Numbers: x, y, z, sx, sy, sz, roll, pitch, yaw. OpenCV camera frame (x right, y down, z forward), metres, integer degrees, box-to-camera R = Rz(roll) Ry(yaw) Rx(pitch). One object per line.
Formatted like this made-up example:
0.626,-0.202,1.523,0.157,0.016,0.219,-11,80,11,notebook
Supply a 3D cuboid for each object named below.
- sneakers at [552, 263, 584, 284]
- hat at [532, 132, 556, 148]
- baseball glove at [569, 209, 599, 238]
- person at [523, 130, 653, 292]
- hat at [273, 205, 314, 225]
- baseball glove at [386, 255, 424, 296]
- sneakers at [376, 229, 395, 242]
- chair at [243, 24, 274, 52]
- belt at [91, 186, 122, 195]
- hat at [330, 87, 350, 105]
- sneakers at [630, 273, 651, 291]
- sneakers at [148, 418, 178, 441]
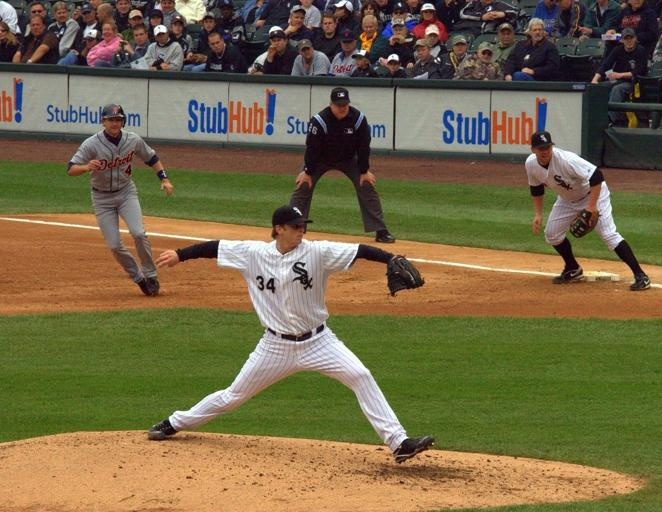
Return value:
3.211,0.236,18.721,0.496,0.186,0.167,-12,23,1,sneakers
2.678,-1.497,17.827,0.217,0.150,0.282,-6,11,-2,hat
3.210,-0.419,17.921,0.268,0.413,0.240,37,5,18,baseball glove
3.308,-0.636,18.223,1.480,2.216,1.196,5,23,41,person
-0.389,-0.416,13.740,0.321,0.134,0.202,-2,6,16,hat
0.773,0.224,14.923,0.512,0.426,0.275,-16,5,-3,baseball glove
0.766,-0.307,20.803,0.145,0.123,0.307,-9,5,-44,sneakers
-1.498,-4.545,28.868,0.664,0.725,0.600,1,12,3,chair
-2.887,-0.869,17.958,0.391,0.098,0.082,-1,9,-2,belt
0.112,-2.284,19.805,0.229,0.154,0.294,-3,21,-9,hat
4.030,0.317,18.222,0.258,0.225,0.280,0,9,11,sneakers
-1.716,1.761,14.068,0.180,0.128,0.403,-13,1,38,sneakers
